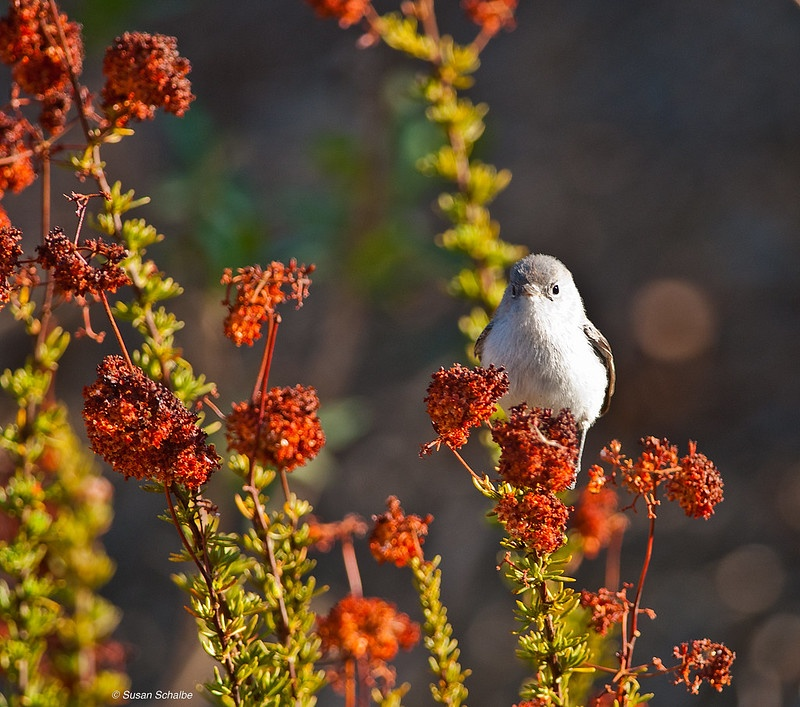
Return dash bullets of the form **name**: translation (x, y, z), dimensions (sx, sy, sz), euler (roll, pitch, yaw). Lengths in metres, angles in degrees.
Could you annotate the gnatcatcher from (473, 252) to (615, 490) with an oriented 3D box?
- **gnatcatcher**: translation (0.466, 0.050, 4.165), dimensions (0.323, 0.584, 0.713), euler (-2, -25, 11)
